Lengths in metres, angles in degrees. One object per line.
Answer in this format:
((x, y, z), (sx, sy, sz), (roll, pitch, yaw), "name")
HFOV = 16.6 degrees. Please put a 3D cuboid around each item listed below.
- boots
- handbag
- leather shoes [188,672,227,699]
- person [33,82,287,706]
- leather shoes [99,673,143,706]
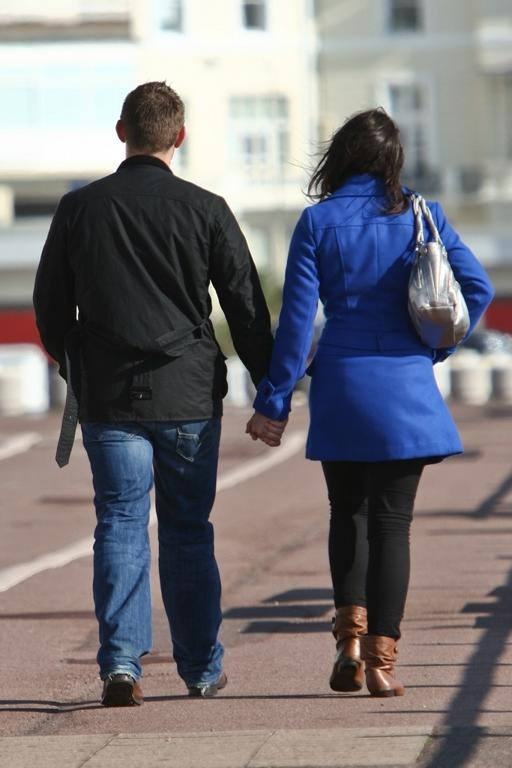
((0.348, 0.877, 5.781), (0.226, 0.274, 0.277), (0, -2, 27), "boots")
((0.605, -0.344, 5.809), (0.207, 0.523, 0.342), (1, 13, 6), "handbag")
((-0.168, 1.011, 5.886), (0.050, 0.061, 0.139), (5, 15, 27), "leather shoes")
((-0.307, 0.072, 5.817), (0.780, 2.075, 0.706), (-4, 14, -17), "person")
((-0.439, 0.976, 5.652), (0.125, 0.132, 0.107), (0, 13, 0), "leather shoes")
